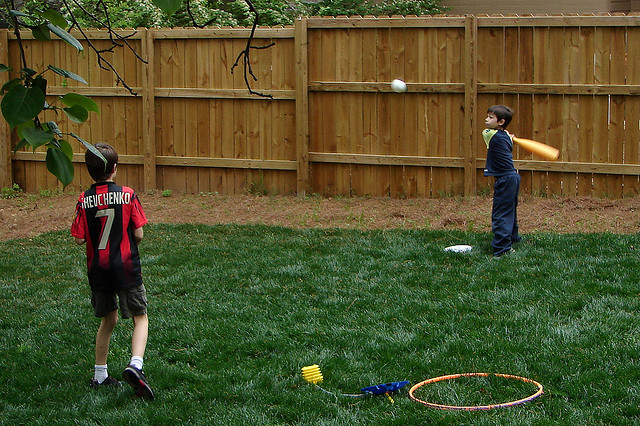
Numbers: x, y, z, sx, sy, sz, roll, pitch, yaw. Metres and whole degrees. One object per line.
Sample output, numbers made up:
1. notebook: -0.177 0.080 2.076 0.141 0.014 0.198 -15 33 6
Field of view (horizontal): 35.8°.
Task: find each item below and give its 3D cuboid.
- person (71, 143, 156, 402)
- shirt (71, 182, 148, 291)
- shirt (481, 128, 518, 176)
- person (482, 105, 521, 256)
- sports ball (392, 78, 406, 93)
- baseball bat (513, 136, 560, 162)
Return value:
1. person: -2.104 0.465 10.233 0.821 2.805 0.975 4 -2 -42
2. shirt: -2.252 0.302 10.604 0.989 1.611 0.513 -2 2 7
3. shirt: 2.314 -0.791 12.801 0.537 0.719 0.326 5 -23 -2
4. person: 2.354 -0.439 12.774 0.477 1.746 0.918 0 13 7
5. sports ball: 1.215 -1.945 15.229 0.203 0.232 0.431 -1 16 4
6. baseball bat: 3.124 -0.931 14.213 0.550 0.181 0.143 30 -3 25
